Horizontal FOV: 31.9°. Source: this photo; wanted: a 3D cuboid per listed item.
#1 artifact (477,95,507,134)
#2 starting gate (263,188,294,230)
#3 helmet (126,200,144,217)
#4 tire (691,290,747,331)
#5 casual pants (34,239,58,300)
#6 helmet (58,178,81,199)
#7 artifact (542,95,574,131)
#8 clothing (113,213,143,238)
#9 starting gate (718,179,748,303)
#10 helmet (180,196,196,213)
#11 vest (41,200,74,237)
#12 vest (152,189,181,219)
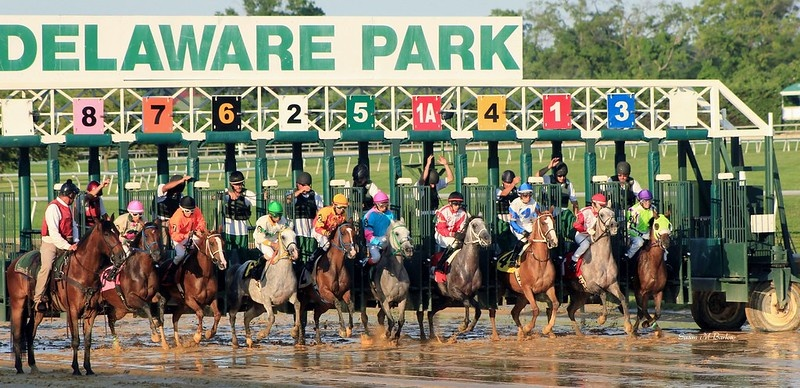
[{"bbox_3d":[2.944,-2.605,45.512,1.423,1.468,0.335,0,-2,-2],"label":"artifact"},{"bbox_3d":[-3.627,0.387,42.178,0.921,1.089,0.623,-3,-15,3],"label":"starting gate"},{"bbox_3d":[-7.686,0.480,40.883,0.393,0.391,0.485,2,-6,-22],"label":"helmet"},{"bbox_3d":[9.847,3.680,43.326,1.446,1.291,0.523,-2,5,-8],"label":"tire"},{"bbox_3d":[-9.937,2.183,39.681,0.470,1.811,0.586,6,-3,13],"label":"casual pants"},{"bbox_3d":[-9.451,-0.106,39.864,0.482,0.536,0.649,7,11,7],"label":"helmet"},{"bbox_3d":[5.083,-2.628,45.586,1.324,1.374,0.277,-1,2,1],"label":"artifact"},{"bbox_3d":[-7.936,1.071,40.971,0.706,0.821,0.364,5,14,7],"label":"clothing"},{"bbox_3d":[10.112,1.593,42.713,0.943,3.846,1.078,2,15,11],"label":"starting gate"},{"bbox_3d":[-6.217,0.359,41.118,0.445,0.459,0.472,1,28,-26],"label":"helmet"},{"bbox_3d":[-9.633,0.835,39.891,0.841,1.250,0.970,6,6,5],"label":"vest"},{"bbox_3d":[-6.939,0.357,42.313,0.616,0.785,0.473,15,7,-37],"label":"vest"}]
